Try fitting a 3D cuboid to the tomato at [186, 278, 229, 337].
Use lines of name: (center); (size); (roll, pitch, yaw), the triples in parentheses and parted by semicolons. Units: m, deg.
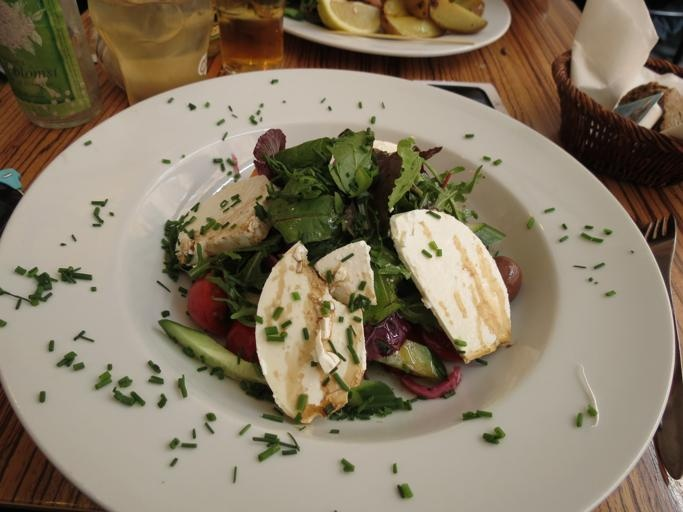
tomato: (-0.390, 0.153, 1.837); (0.090, 0.121, 0.172); (-23, 74, 19)
